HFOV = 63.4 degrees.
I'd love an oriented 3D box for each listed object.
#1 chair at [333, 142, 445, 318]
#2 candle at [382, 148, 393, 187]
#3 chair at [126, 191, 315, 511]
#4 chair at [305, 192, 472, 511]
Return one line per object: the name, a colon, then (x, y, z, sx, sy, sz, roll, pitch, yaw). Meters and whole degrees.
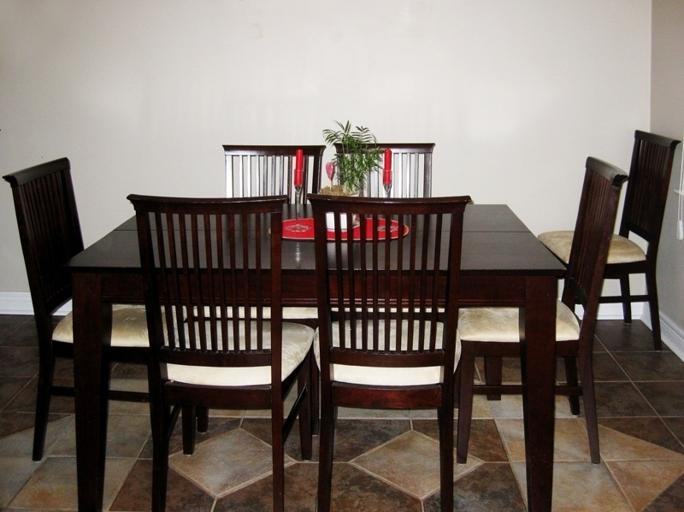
chair: (0.350, -0.347, 3.223, 0.496, 0.927, 0.536, 2, 9, 6)
candle: (0.203, -0.394, 2.503, 0.032, 0.177, 0.072, -1, 11, -1)
chair: (-0.441, 0.340, 2.132, 0.707, 1.199, 0.766, -9, 15, -38)
chair: (0.159, 0.350, 2.057, 0.558, 1.193, 0.788, 2, 12, 9)
